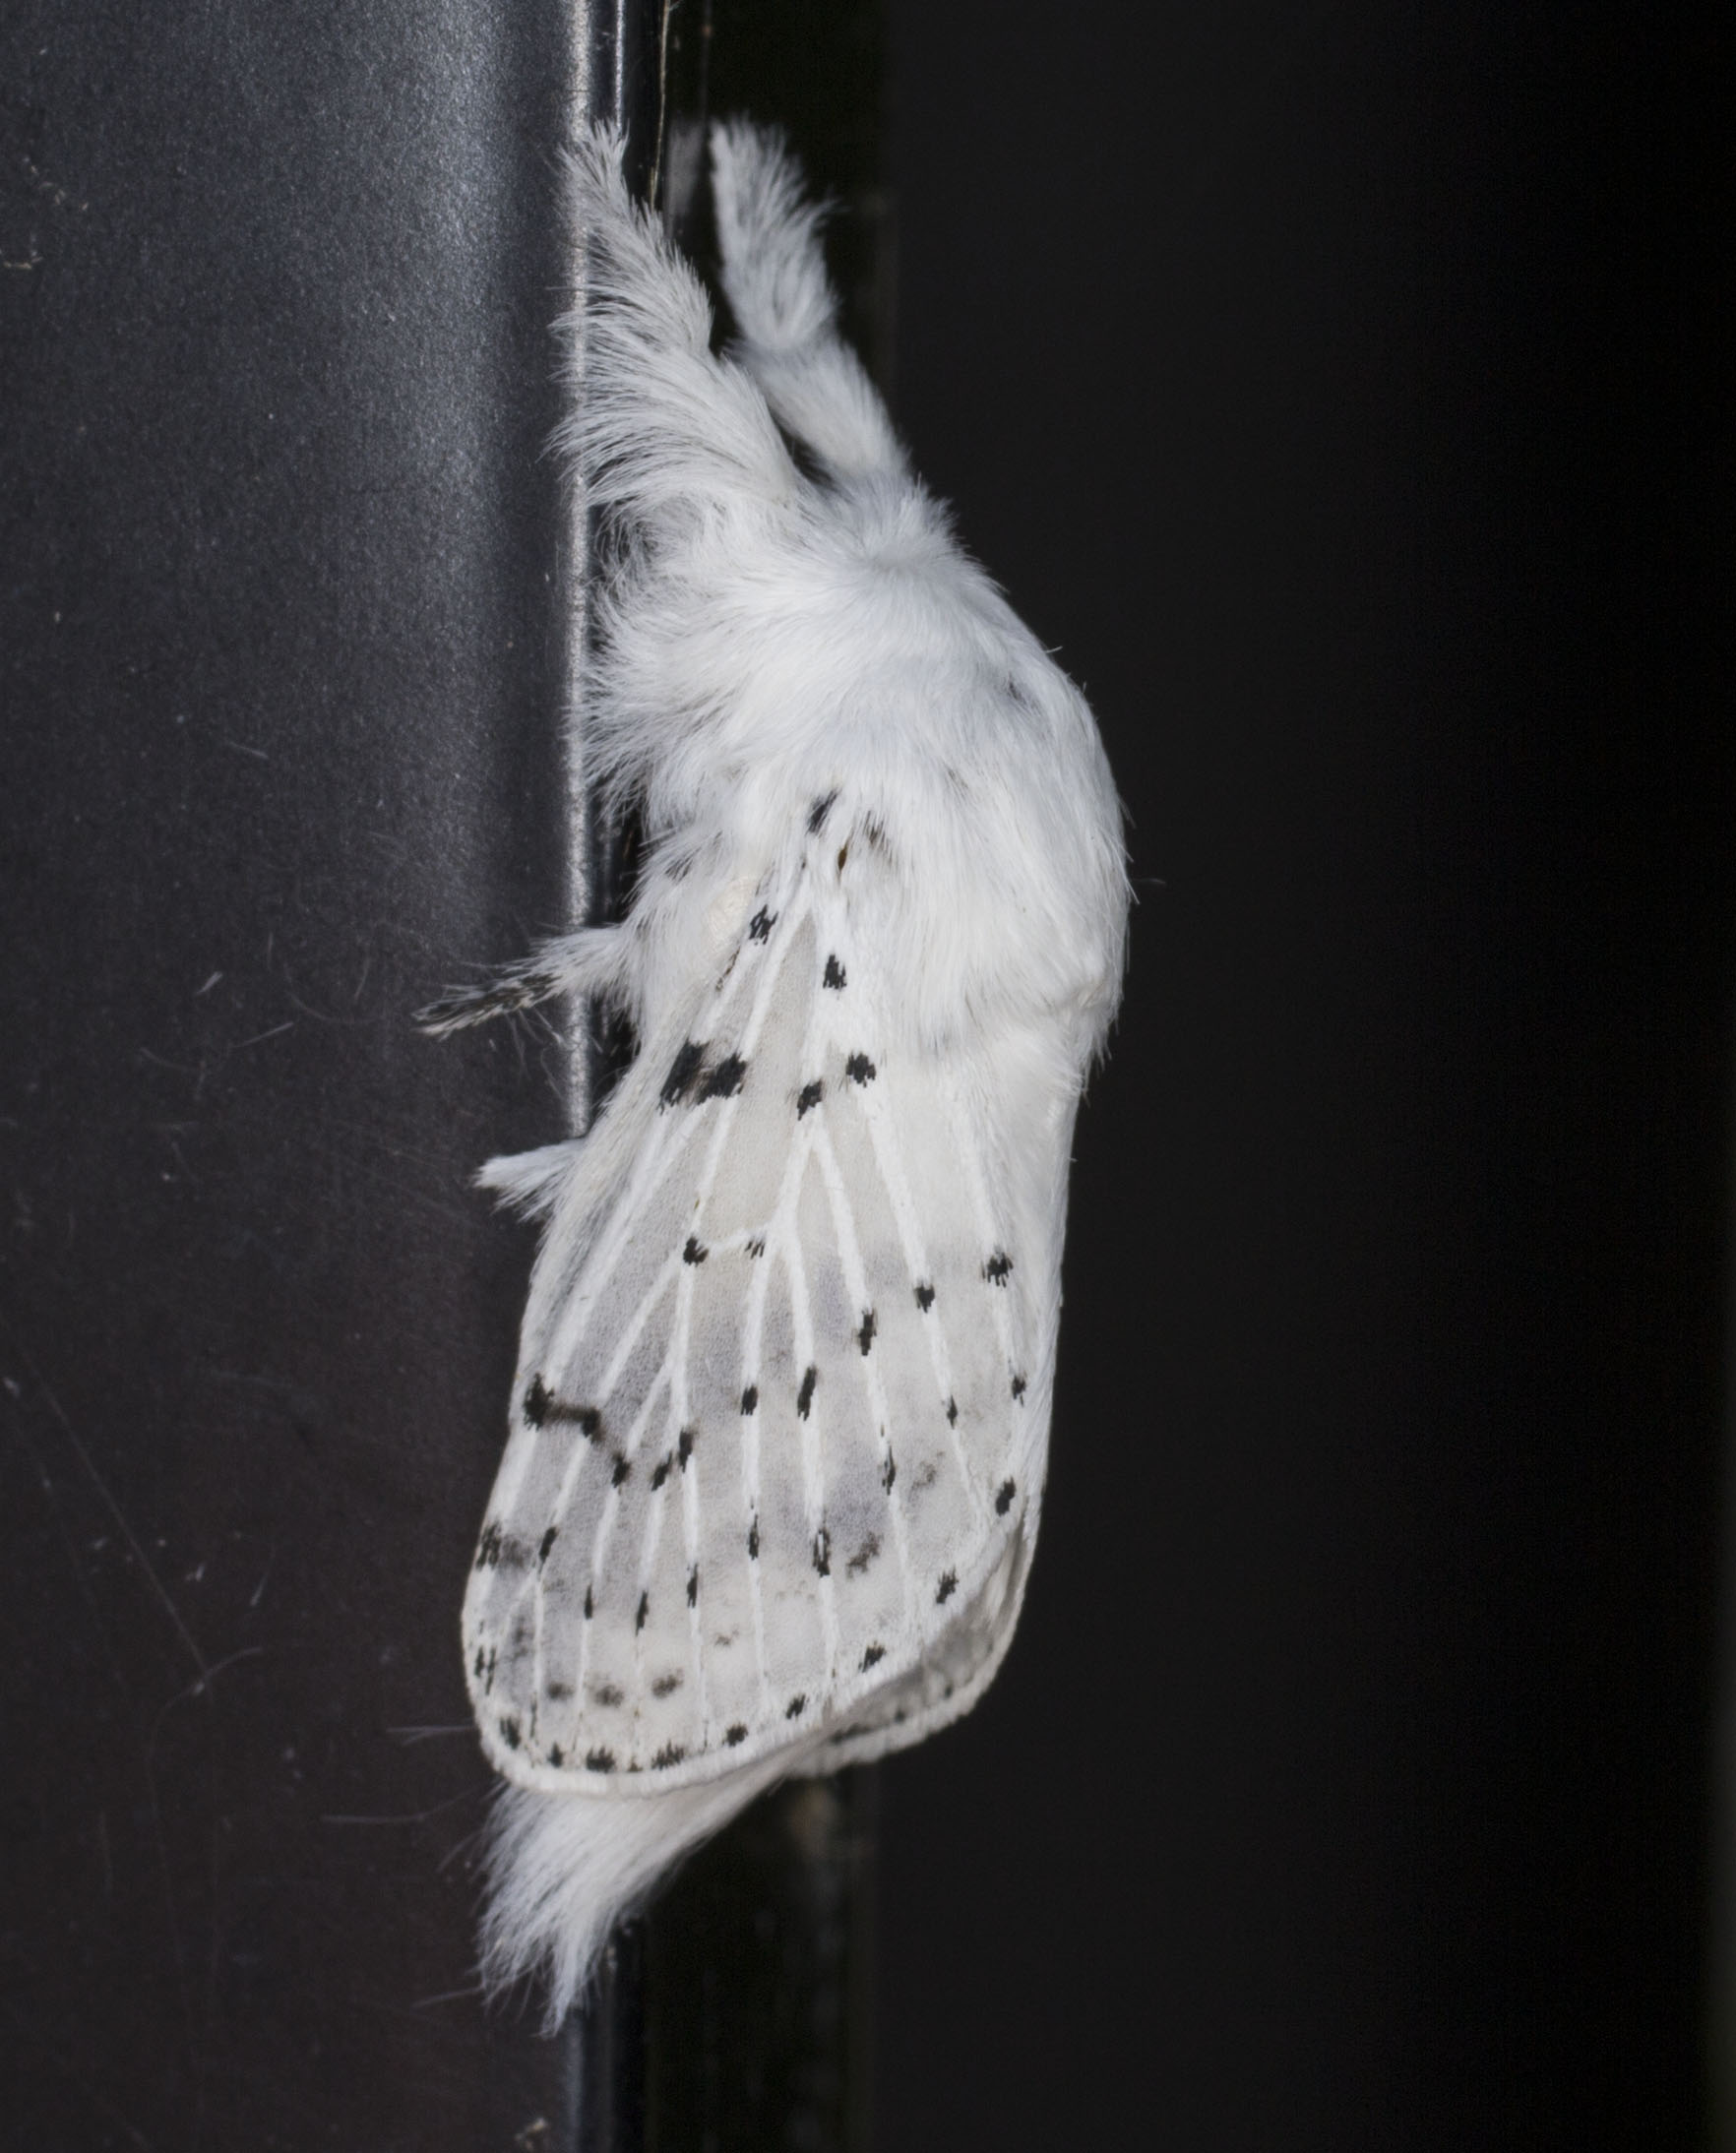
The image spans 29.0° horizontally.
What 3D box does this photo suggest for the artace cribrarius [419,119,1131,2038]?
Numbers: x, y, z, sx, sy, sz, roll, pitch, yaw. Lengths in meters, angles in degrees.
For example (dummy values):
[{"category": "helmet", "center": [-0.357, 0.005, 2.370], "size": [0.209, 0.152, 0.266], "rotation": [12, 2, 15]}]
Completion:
[{"category": "artace cribrarius", "center": [-0.020, -0.007, 0.953], "size": [0.148, 0.559, 0.151], "rotation": [-4, -7, 39]}]
